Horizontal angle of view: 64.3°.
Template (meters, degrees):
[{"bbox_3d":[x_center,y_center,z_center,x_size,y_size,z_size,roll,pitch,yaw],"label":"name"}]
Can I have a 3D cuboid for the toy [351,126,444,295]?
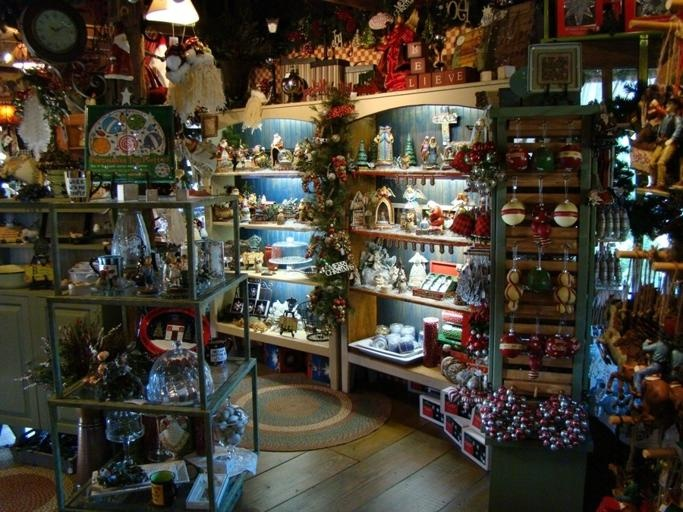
[{"bbox_3d":[0.504,-0.426,4.926,0.468,1.447,1.515,-1,4,-44],"label":"toy"}]

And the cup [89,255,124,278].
[{"bbox_3d":[-1.470,0.062,3.375,0.185,0.179,0.114,-2,8,-15],"label":"cup"}]

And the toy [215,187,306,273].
[{"bbox_3d":[-0.791,-0.254,6.018,1.170,1.102,0.777,3,11,23],"label":"toy"}]

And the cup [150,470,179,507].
[{"bbox_3d":[-1.049,1.401,3.252,0.183,0.130,0.117,3,2,-2],"label":"cup"}]
